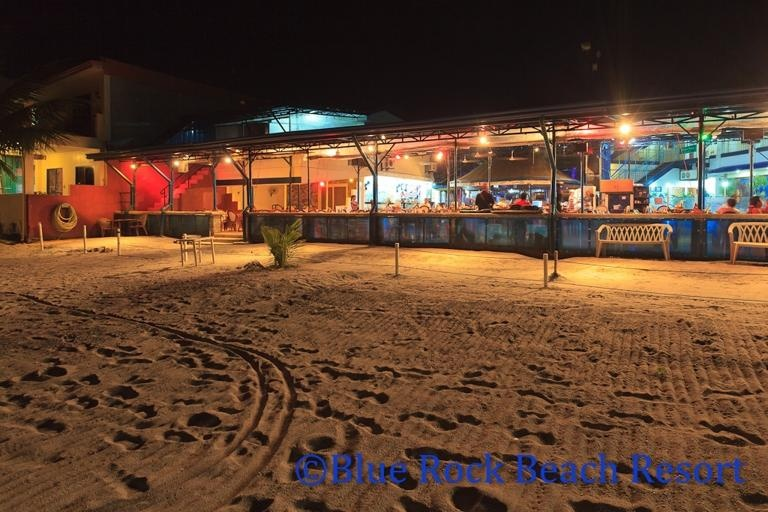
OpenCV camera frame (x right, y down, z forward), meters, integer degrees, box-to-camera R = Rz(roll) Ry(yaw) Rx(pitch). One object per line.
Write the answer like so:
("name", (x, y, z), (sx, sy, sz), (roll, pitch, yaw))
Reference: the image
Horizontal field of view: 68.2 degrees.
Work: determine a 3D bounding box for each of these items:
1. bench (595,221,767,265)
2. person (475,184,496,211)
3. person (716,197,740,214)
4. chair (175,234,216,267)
("bench", (8.077, -0.459, 15.748), (4.148, 1.359, 1.068), (8, 17, 29))
("person", (3.655, -2.134, 20.431), (0.626, 0.880, 1.757), (2, 16, 8))
("person", (9.920, -1.473, 16.205), (0.474, 0.514, 2.063), (9, 18, 30))
("chair", (-5.710, -0.169, 17.405), (0.947, 0.843, 0.751), (-3, 6, -16))
